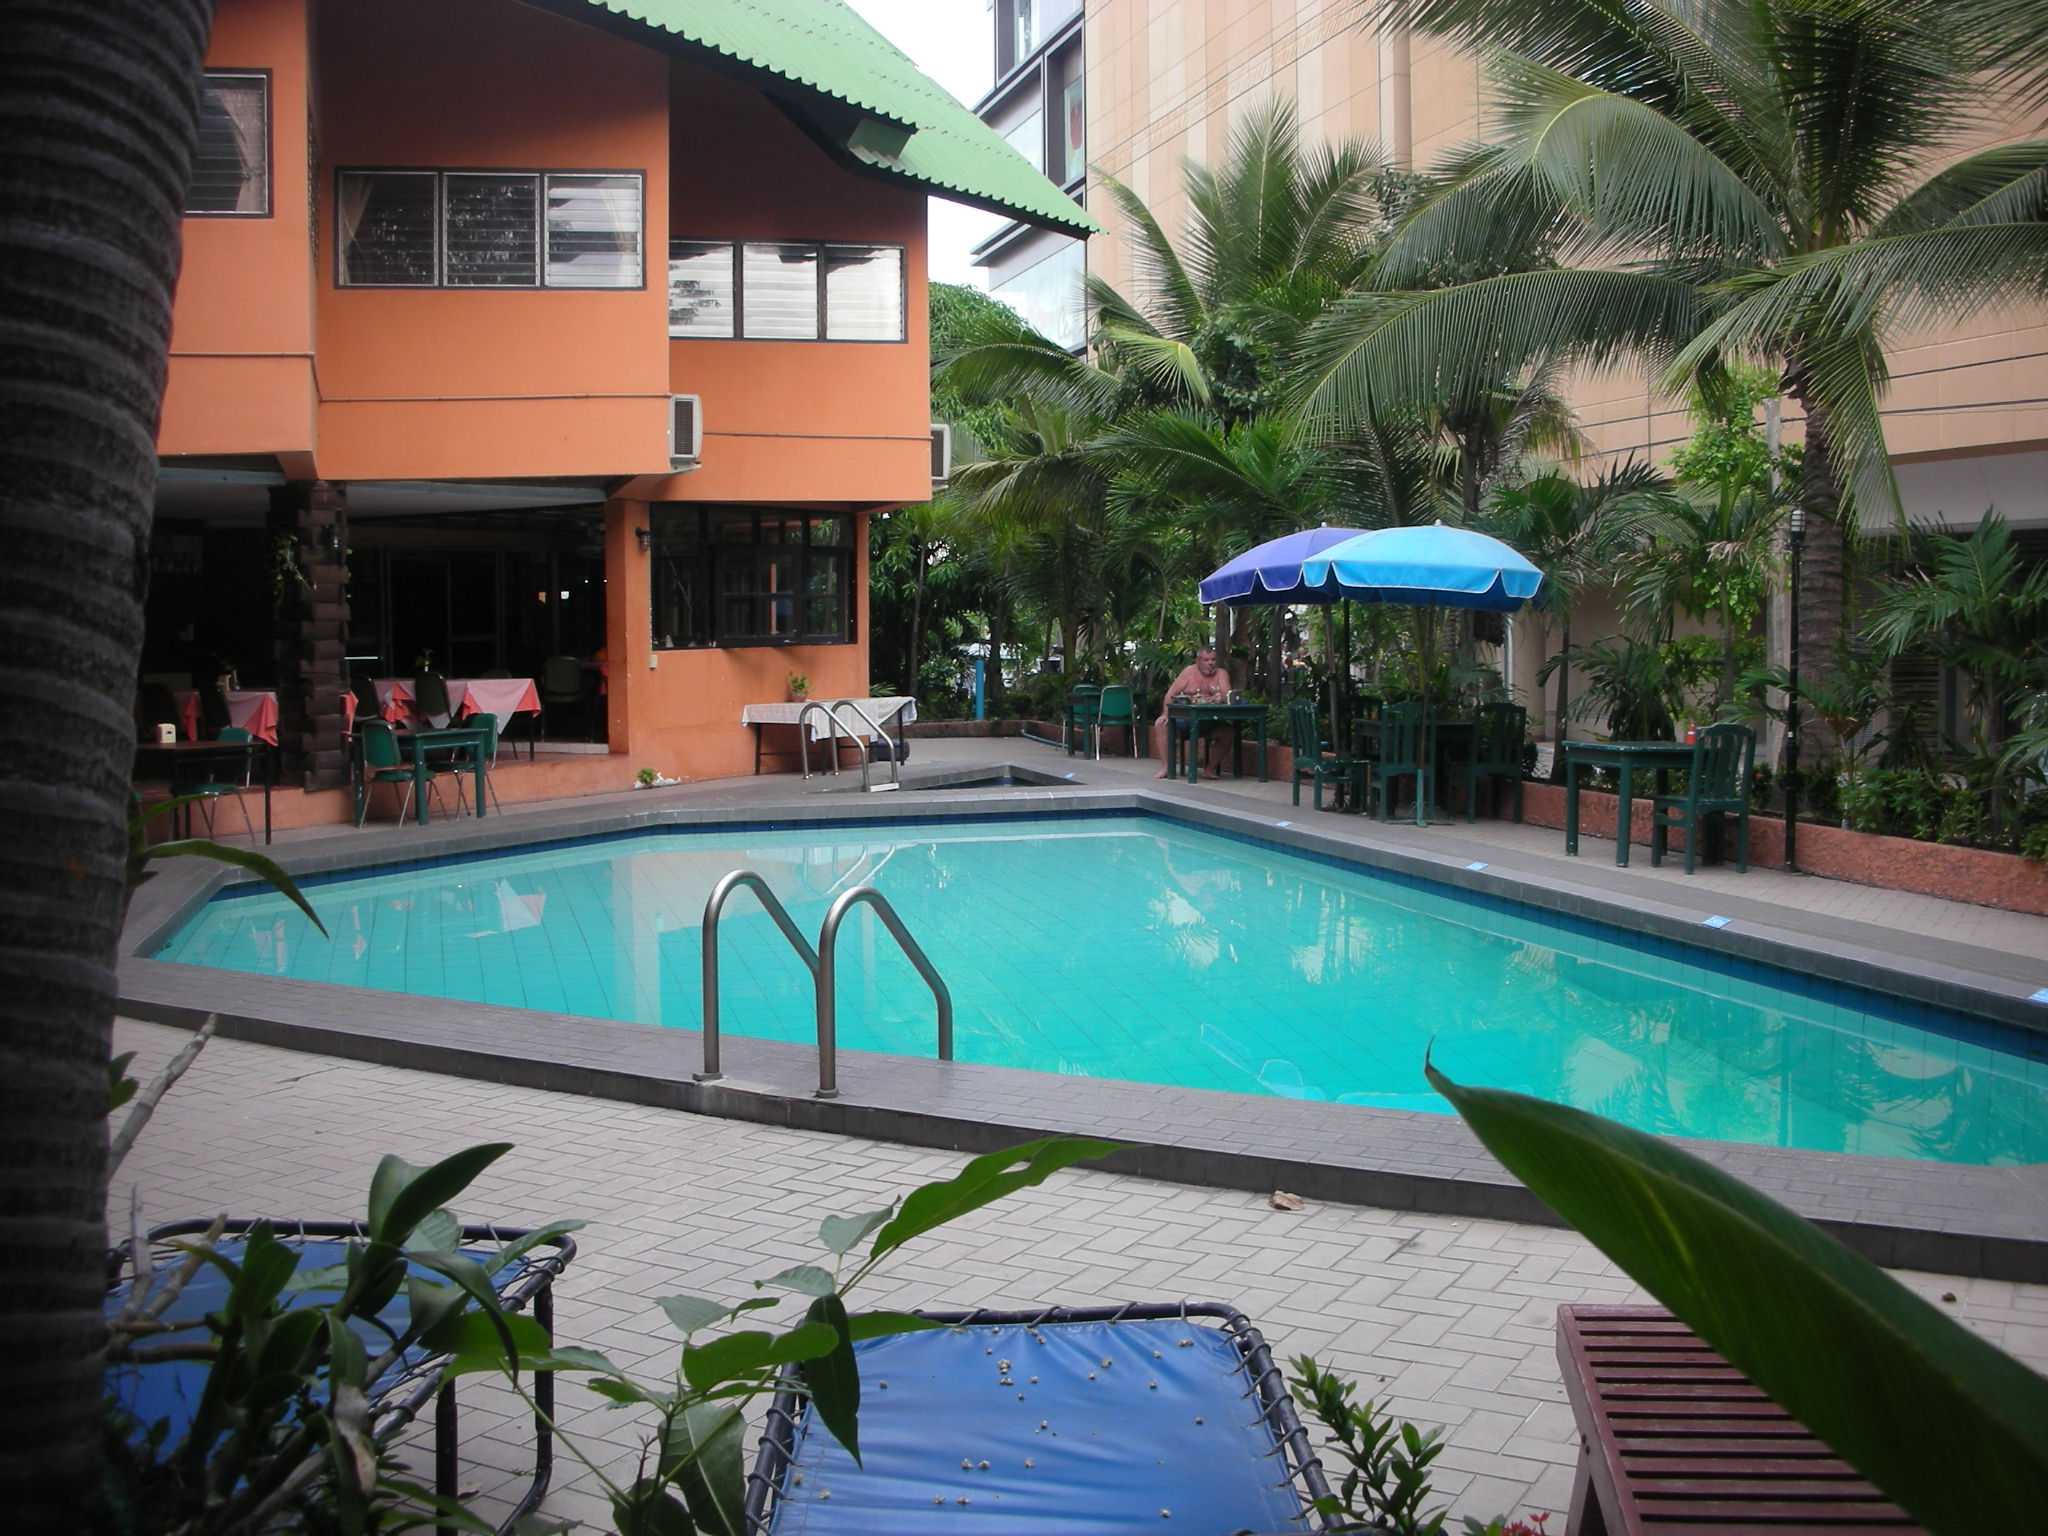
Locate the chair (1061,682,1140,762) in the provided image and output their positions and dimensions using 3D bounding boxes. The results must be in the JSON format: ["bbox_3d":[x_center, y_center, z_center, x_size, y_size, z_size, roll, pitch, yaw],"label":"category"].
[{"bbox_3d":[1.220,-0.643,22.844,0.907,1.454,0.995,0,-3,-12],"label":"chair"}]

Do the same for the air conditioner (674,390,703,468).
[{"bbox_3d":[-3.555,-3.582,16.902,0.295,0.749,0.221,-3,6,-19],"label":"air conditioner"}]

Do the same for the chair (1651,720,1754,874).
[{"bbox_3d":[4.949,0.071,11.881,0.507,1.050,0.574,2,21,-19],"label":"chair"}]

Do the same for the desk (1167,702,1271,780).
[{"bbox_3d":[2.400,-0.251,19.779,0.861,0.986,0.959,-1,3,8],"label":"desk"}]

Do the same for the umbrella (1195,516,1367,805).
[{"bbox_3d":[2.779,-1.179,15.705,1.772,2.324,1.837,-5,2,-18],"label":"umbrella"}]

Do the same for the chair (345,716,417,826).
[{"bbox_3d":[-5.723,0.056,14.668,0.464,0.939,0.617,3,0,9],"label":"chair"}]

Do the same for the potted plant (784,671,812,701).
[{"bbox_3d":[-2.883,-1.050,20.699,0.275,0.399,0.309,0,-1,0],"label":"potted plant"}]

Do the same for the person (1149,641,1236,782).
[{"bbox_3d":[2.175,-0.686,19.764,1.012,1.705,0.953,9,-8,-19],"label":"person"}]

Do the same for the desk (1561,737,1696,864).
[{"bbox_3d":[4.697,0.107,12.329,0.835,0.943,1.159,-1,5,-14],"label":"desk"}]

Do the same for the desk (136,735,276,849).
[{"bbox_3d":[-6.594,0.209,12.966,0.610,0.898,0.770,-9,0,17],"label":"desk"}]
